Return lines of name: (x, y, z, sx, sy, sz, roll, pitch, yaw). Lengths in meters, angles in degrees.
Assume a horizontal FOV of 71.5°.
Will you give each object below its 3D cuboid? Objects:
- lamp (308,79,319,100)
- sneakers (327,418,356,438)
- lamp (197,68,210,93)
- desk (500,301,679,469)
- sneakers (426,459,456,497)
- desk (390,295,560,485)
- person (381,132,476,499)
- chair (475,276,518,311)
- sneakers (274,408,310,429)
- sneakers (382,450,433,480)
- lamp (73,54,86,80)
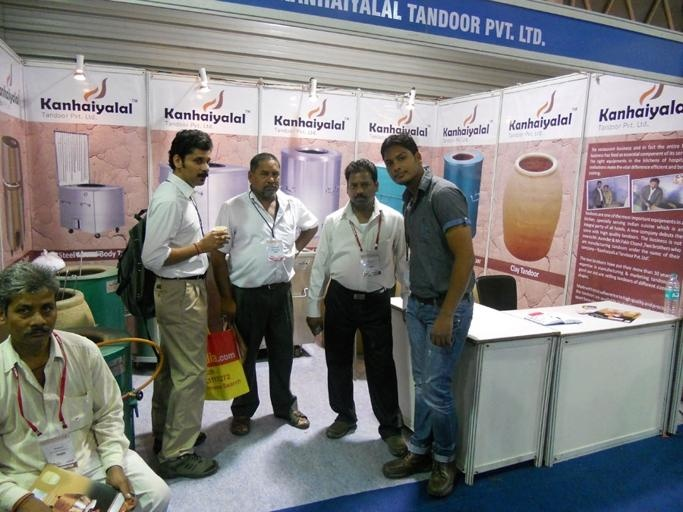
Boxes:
lamp: (-0.280, -1.614, 4.584, 0.092, 0.226, 0.296, 0, 13, -4)
sneakers: (-0.005, 1.222, 3.363, 0.199, 0.088, 0.092, 2, -1, -41)
lamp: (-1.238, -1.552, 4.221, 0.097, 0.199, 0.224, -1, 13, -6)
desk: (1.751, 0.856, 3.537, 1.423, 1.117, 0.871, -4, 15, -15)
sneakers: (0.583, 1.309, 2.844, 0.129, 0.208, 0.301, 4, 1, 25)
desk: (0.870, 0.960, 3.328, 0.606, 0.802, 0.980, 5, -5, -15)
person: (0.485, 0.340, 2.822, 0.555, 2.056, 0.455, 8, 14, 29)
chair: (1.227, 0.276, 3.789, 0.259, 0.390, 0.309, -1, 3, -17)
sneakers: (-0.364, 1.174, 3.489, 0.274, 0.105, 0.102, 3, 2, 44)
sneakers: (0.412, 1.303, 3.012, 0.341, 0.159, 0.128, -3, 9, -20)
lamp: (-2.202, -1.588, 3.978, 0.092, 0.232, 0.310, -6, 15, -27)
